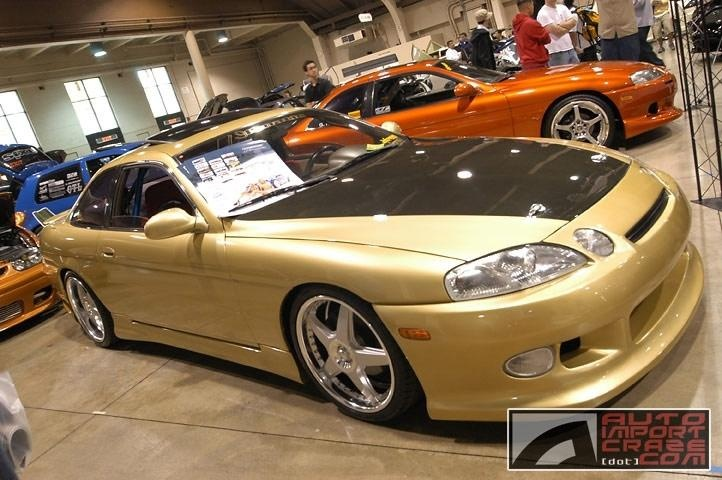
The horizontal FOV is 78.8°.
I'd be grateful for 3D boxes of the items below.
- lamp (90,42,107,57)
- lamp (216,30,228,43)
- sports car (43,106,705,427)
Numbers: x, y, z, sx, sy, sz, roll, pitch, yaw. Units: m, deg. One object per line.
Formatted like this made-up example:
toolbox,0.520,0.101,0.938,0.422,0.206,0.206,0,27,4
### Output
lamp,-9.115,-6.604,15.108,0.373,0.494,0.939,-23,23,-24
lamp,-5.985,-8.789,18.786,0.384,0.536,1.819,-17,20,-10
sports car,-0.335,0.289,3.089,4.032,1.131,2.043,3,31,26
